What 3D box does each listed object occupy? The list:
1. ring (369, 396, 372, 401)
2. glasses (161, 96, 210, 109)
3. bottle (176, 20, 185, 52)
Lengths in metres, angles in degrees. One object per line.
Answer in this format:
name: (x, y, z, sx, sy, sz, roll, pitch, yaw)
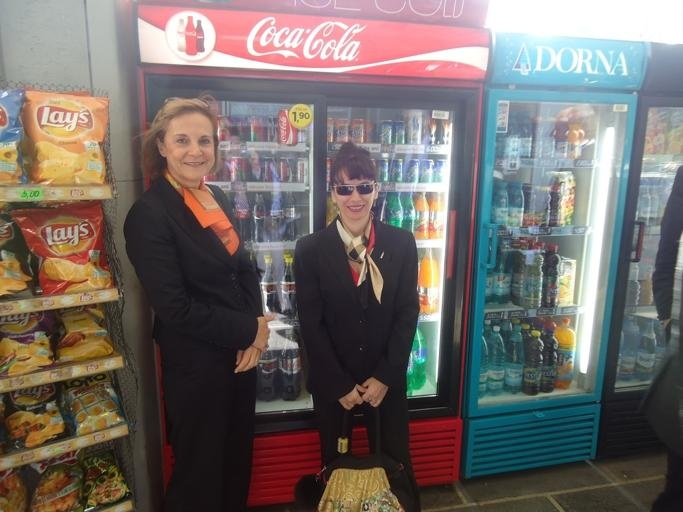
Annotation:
ring: (0.149, 0.738, 2.753, 0.026, 0.024, 0.006, -1, 2, 11)
glasses: (-0.767, -0.767, 2.648, 0.212, 0.063, 0.178, -2, 10, -11)
bottle: (-0.841, -1.157, 2.792, 0.046, 0.156, 0.010, 0, 10, 0)
